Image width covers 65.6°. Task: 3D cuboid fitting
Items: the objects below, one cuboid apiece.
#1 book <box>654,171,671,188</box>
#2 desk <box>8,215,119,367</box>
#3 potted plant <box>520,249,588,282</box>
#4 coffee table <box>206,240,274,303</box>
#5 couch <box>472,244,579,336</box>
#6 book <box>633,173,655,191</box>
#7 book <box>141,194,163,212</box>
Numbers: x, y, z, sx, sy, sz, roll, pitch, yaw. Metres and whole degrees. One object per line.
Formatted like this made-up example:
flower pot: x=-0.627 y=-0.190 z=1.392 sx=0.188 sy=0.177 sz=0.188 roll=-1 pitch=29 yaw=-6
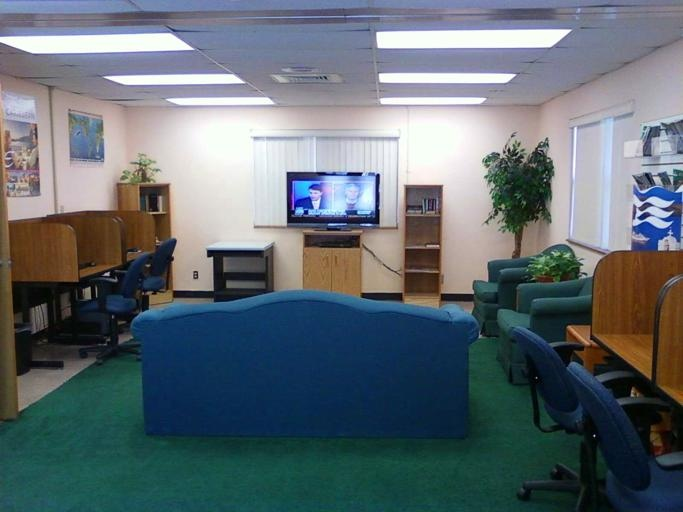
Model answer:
book: x=2.852 y=-0.675 z=4.688 sx=0.036 sy=0.138 sz=0.151 roll=-8 pitch=25 yaw=-16
desk: x=-3.119 y=0.386 z=5.973 sx=0.803 sy=1.497 sz=1.573 roll=-1 pitch=5 yaw=-6
potted plant: x=2.481 y=0.124 z=6.052 sx=0.434 sy=0.292 sz=0.427 roll=-2 pitch=2 yaw=-40
coffee table: x=-1.637 y=0.238 z=8.327 sx=1.059 sy=0.999 sz=0.946 roll=-1 pitch=-2 yaw=3
couch: x=2.387 y=0.395 z=6.968 sx=1.236 sy=1.296 sz=1.084 roll=0 pitch=1 yaw=3
book: x=2.804 y=-0.686 z=4.914 sx=0.054 sy=0.135 sz=0.135 roll=-19 pitch=-16 yaw=-15
book: x=-2.924 y=-0.808 z=8.169 sx=0.342 sy=0.326 sz=0.183 roll=-1 pitch=0 yaw=-3
